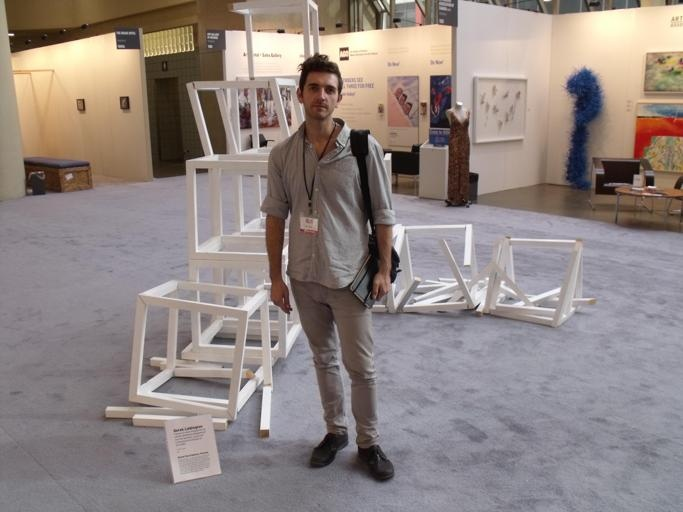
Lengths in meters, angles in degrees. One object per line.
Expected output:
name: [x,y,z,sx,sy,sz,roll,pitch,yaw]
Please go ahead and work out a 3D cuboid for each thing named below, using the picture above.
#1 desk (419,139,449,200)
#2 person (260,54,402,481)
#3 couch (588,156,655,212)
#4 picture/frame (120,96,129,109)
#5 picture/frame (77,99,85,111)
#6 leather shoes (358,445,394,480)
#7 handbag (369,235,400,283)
desk: [2.110,-1.811,10.583,0.617,1.100,0.657,10,20,32]
person: [-0.076,0.086,2.611,0.701,2.206,0.427,0,13,7]
couch: [5.504,-1.603,9.711,1.262,1.102,0.988,0,8,12]
picture/frame: [-5.769,-4.121,13.066,0.309,0.335,0.101,7,13,37]
picture/frame: [-7.588,-4.434,14.291,0.296,0.311,0.051,12,21,33]
leather shoes: [0.186,1.120,2.718,0.103,0.108,0.237,-7,10,-26]
handbag: [0.220,0.017,2.561,0.176,0.252,0.086,6,-4,-24]
